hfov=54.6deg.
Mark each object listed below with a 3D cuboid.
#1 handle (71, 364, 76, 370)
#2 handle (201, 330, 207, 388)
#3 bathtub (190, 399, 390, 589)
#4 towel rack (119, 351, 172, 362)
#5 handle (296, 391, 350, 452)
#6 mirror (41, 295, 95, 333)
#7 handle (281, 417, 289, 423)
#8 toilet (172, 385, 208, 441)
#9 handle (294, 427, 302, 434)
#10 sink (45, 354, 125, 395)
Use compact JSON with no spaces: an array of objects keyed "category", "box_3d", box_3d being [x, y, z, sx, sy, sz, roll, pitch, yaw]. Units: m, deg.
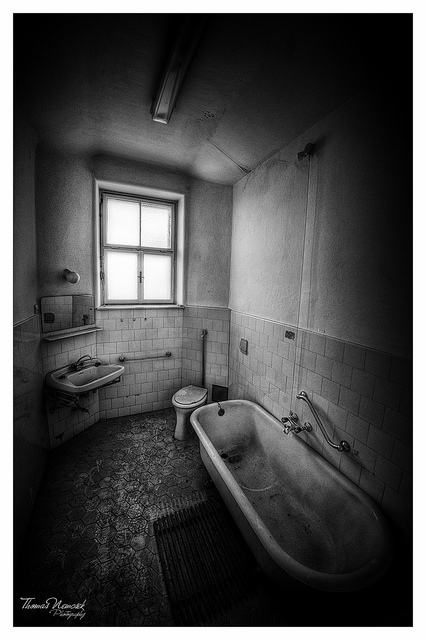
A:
[{"category":"handle","box_3d":[-1.046,0.354,3.113,0.022,0.024,0.023,11,5,-41]},{"category":"handle","box_3d":[-0.085,0.353,3.782,0.040,0.525,0.028,1,5,-2]},{"category":"bathtub","box_3d":[0.330,0.940,2.338,0.519,0.464,1.475,-1,8,-21]},{"category":"towel rack","box_3d":[-0.588,0.324,3.664,0.503,0.059,0.020,-3,7,-35]},{"category":"handle","box_3d":[0.590,0.562,2.296,0.112,0.227,0.465,0,7,-14]},{"category":"mirror","box_3d":[-1.061,-0.057,3.064,0.069,0.256,0.297,7,4,23]},{"category":"handle","box_3d":[0.443,0.628,2.560,0.028,0.036,0.039,0,-26,-16]},{"category":"toilet","box_3d":[-0.223,0.748,3.316,0.177,0.453,0.358,4,2,16]},{"category":"handle","box_3d":[0.497,0.651,2.443,0.026,0.013,0.030,-9,20,24]},{"category":"sink","box_3d":[-0.926,0.408,3.083,0.319,0.202,0.665,4,7,16]}]
